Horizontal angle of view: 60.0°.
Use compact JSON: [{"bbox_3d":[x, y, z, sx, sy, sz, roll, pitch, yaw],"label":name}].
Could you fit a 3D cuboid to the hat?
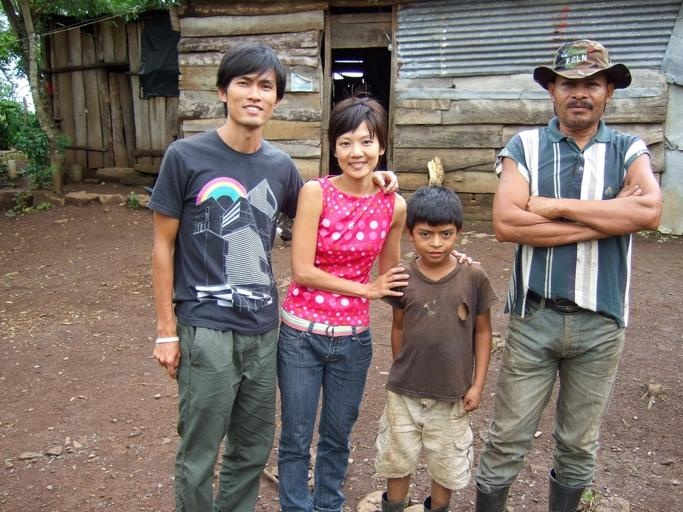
[{"bbox_3d":[1.394,-1.116,3.483,0.533,0.244,0.572,7,5,30],"label":"hat"}]
